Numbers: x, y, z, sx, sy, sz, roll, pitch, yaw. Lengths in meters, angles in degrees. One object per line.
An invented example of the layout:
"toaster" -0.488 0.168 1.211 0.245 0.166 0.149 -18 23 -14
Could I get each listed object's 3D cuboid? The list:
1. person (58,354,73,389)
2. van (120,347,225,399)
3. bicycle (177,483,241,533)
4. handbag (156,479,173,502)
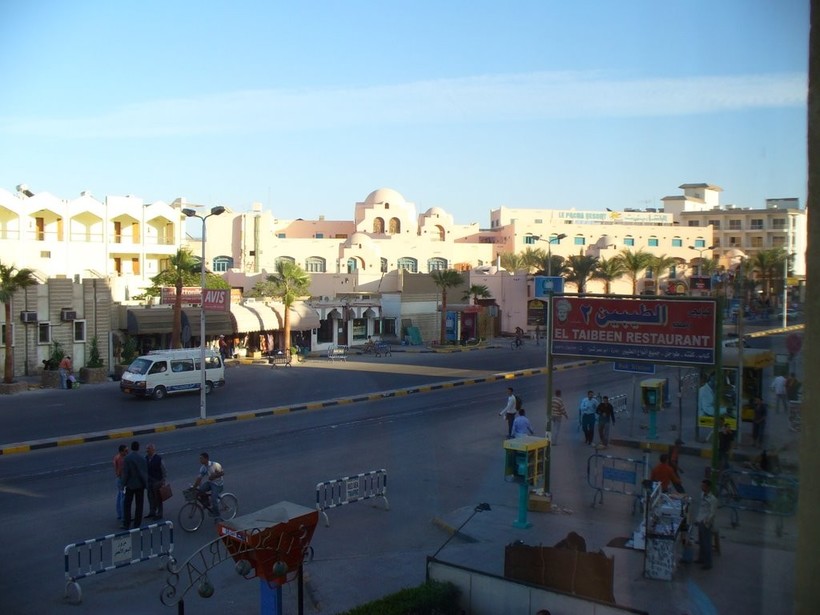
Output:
"person" -14.891 2.876 41.802 0.556 1.477 0.889 -3 1 -23
"van" -9.688 2.719 39.361 3.761 2.041 1.873 0 0 -40
"bicycle" -5.051 4.919 23.982 0.827 1.210 1.834 -9 -7 38
"handbag" -5.909 4.413 23.283 0.301 0.459 0.314 -3 1 -39
